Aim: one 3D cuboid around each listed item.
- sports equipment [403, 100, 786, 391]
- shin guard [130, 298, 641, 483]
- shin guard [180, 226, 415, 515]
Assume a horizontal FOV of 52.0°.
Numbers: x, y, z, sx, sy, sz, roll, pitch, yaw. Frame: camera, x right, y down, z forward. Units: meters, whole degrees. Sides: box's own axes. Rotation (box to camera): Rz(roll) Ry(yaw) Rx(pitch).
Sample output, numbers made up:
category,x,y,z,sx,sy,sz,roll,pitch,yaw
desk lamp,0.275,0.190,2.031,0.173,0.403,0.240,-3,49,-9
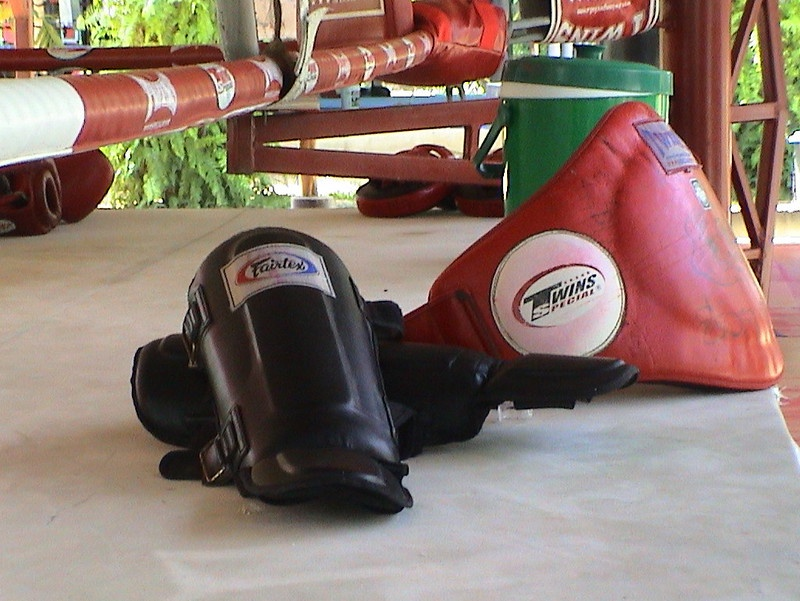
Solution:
category,x,y,z,sx,sy,sz,roll,pitch,yaw
sports equipment,0.291,-0.028,1.222,0.480,0.371,0.335,-4,-2,25
shin guard,-0.038,0.102,0.968,0.302,0.122,0.328,4,6,9
shin guard,-0.132,0.067,0.956,0.263,0.126,0.432,-6,44,-22
